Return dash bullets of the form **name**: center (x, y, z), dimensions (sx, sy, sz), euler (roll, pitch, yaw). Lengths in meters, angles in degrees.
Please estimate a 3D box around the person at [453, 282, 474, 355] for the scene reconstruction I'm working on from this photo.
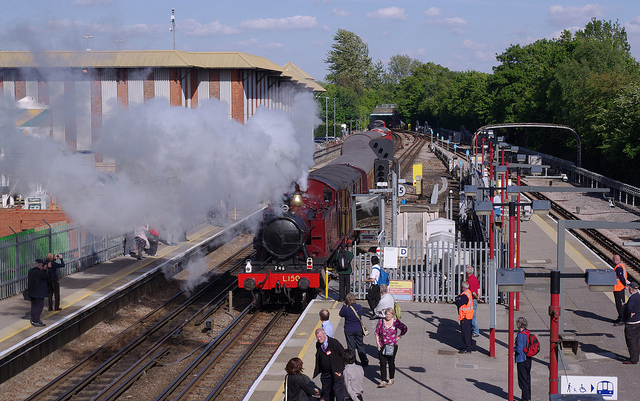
- **person**: center (5.223, 4.243, 26.601), dimensions (0.539, 2.592, 0.531), euler (1, 11, 20)

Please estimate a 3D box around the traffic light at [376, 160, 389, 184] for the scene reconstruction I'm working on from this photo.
- **traffic light**: center (2.694, -1.216, 31.640), dimensions (0.592, 0.881, 0.209), euler (-2, 3, 10)

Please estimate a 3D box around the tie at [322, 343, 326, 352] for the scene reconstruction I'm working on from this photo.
- **tie**: center (0.116, 4.584, 22.974), dimensions (0.061, 0.214, 0.048), euler (1, -6, 19)

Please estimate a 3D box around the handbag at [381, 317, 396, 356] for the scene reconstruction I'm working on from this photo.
- **handbag**: center (2.289, 4.617, 24.717), dimensions (0.703, 1.064, 0.391), euler (-4, 0, 9)

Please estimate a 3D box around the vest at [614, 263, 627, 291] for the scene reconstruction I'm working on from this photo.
- **vest**: center (11.703, 2.953, 28.756), dimensions (0.377, 0.944, 1.421), euler (2, 12, 22)

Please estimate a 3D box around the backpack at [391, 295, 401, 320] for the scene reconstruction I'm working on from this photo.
- **backpack**: center (2.841, 4.087, 27.192), dimensions (0.446, 0.634, 0.620), euler (-2, -6, 1)

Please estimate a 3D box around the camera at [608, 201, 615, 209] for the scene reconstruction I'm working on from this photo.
- **camera**: center (21.274, 0.277, 53.708), dimensions (0.346, 0.455, 0.700), euler (1, 12, 20)

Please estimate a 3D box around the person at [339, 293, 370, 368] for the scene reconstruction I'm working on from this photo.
- **person**: center (1.177, 4.442, 25.694), dimensions (0.824, 2.590, 0.674), euler (-2, 14, 0)

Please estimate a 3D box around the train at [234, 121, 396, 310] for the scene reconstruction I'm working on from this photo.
- **train**: center (0.160, -0.142, 40.168), dimensions (3.663, 5.340, 19.911), euler (1, 12, 9)

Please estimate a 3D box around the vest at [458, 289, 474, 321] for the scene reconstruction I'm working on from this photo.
- **vest**: center (5.297, 3.758, 26.489), dimensions (0.663, 1.135, 0.415), euler (-9, 13, -32)
